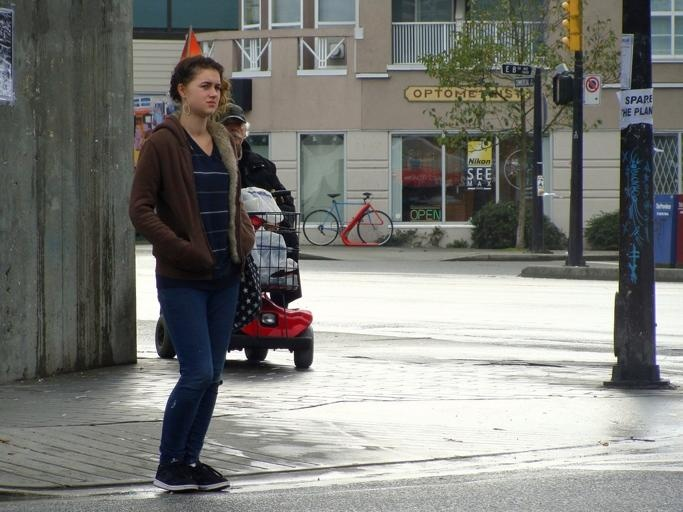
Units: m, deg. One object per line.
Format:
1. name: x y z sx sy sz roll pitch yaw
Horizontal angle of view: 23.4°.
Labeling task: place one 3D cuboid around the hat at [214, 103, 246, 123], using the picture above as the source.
1. hat: -1.038 -1.359 15.961 0.236 0.194 0.330 -1 -10 -12

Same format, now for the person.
1. person: -1.229 0.130 13.556 0.992 3.547 0.484 -1 4 -11

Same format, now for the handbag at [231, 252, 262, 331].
1. handbag: -0.789 0.291 13.811 0.165 0.517 0.360 2 3 15

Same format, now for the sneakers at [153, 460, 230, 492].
1. sneakers: -1.241 1.773 13.492 0.537 0.227 0.268 2 -3 -8

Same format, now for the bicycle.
1. bicycle: 0.186 -0.825 36.135 2.111 1.143 1.314 3 5 34
